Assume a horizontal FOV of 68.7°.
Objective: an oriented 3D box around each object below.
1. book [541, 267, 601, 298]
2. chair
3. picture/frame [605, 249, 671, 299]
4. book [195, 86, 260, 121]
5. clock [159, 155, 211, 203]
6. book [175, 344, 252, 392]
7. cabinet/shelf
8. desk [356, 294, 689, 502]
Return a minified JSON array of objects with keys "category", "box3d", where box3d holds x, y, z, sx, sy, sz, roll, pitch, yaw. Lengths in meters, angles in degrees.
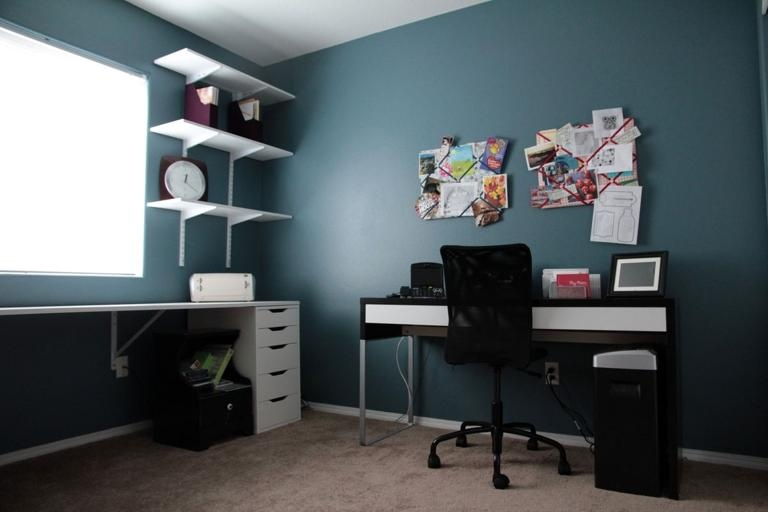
[{"category":"book","box3d":[1.236,0.183,3.797,0.361,0.243,0.201,0,-2,26]},{"category":"chair","box3d":[0.784,0.688,3.838,0.973,1.504,0.965,-1,-2,23]},{"category":"picture/frame","box3d":[1.682,0.124,3.702,0.333,0.326,0.037,0,-20,29]},{"category":"book","box3d":[-1.254,-1.228,4.604,0.252,0.110,0.346,-2,-3,42]},{"category":"clock","box3d":[-1.572,-0.587,4.442,0.394,0.368,0.109,4,-9,-38]},{"category":"book","box3d":[-1.339,0.821,4.205,0.453,0.261,0.440,-7,11,-40]},{"category":"cabinet/shelf","box3d":[-1.328,-0.757,4.471,1.183,1.462,0.439,16,-3,10]},{"category":"desk","box3d":[0.941,0.870,4.052,2.114,1.145,0.795,-2,-4,27]}]
